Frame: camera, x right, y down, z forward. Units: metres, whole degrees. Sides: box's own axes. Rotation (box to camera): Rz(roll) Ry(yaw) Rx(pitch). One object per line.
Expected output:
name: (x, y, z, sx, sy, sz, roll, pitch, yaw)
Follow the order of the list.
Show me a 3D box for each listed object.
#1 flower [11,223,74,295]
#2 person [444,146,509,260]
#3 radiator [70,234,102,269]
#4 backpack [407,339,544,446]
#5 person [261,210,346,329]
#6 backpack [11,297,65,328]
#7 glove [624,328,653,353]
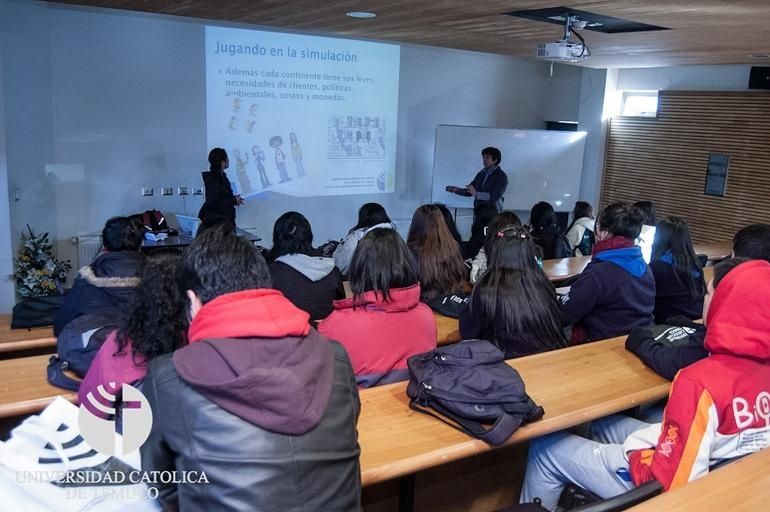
flower: (-3.741, 0.041, 5.250, 0.548, 0.737, 0.620, -25, -21, 31)
person: (1.442, -0.611, 7.781, 0.826, 2.143, 0.948, -12, 21, -38)
radiator: (-3.630, -0.051, 5.836, 0.456, 0.460, 0.069, -2, 3, -38)
backpack: (0.396, 0.555, 2.155, 0.565, 0.224, 0.581, -8, 17, -28)
person: (-0.649, 0.243, 3.632, 0.574, 1.335, 0.456, -3, 45, -16)
backpack: (-2.609, 0.409, 3.645, 0.368, 0.128, 0.329, -4, 14, -25)
glove: (1.406, 0.460, 2.704, 0.136, 0.126, 0.128, 2, -4, -39)
